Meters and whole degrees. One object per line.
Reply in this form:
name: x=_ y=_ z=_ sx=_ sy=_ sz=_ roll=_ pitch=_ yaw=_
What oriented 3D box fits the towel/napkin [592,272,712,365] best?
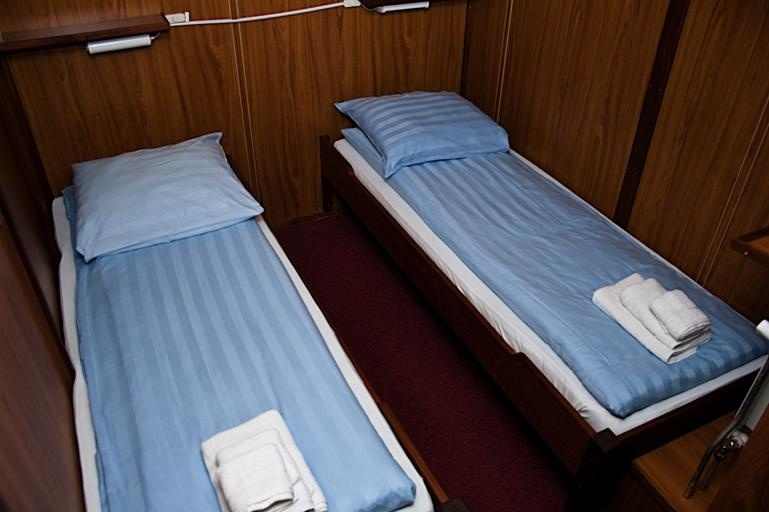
towel/napkin: x=1.248 y=0.210 z=2.441 sx=0.368 sy=0.447 sz=0.155 roll=-25 pitch=-45 yaw=-12
